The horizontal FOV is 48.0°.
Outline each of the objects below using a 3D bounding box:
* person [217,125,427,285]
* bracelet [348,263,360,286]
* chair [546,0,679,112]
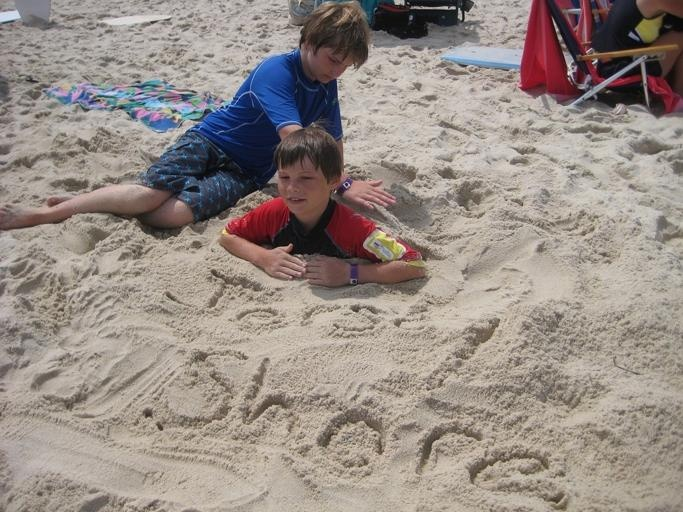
[{"bbox_3d":[-0.143,-0.327,4.964,1.514,0.894,0.668,11,14,32],"label":"person"},{"bbox_3d":[0.090,0.113,4.825,0.060,0.101,0.093,1,37,1],"label":"bracelet"},{"bbox_3d":[2.347,-1.791,6.825,1.198,1.016,0.854,-4,33,10],"label":"chair"}]
